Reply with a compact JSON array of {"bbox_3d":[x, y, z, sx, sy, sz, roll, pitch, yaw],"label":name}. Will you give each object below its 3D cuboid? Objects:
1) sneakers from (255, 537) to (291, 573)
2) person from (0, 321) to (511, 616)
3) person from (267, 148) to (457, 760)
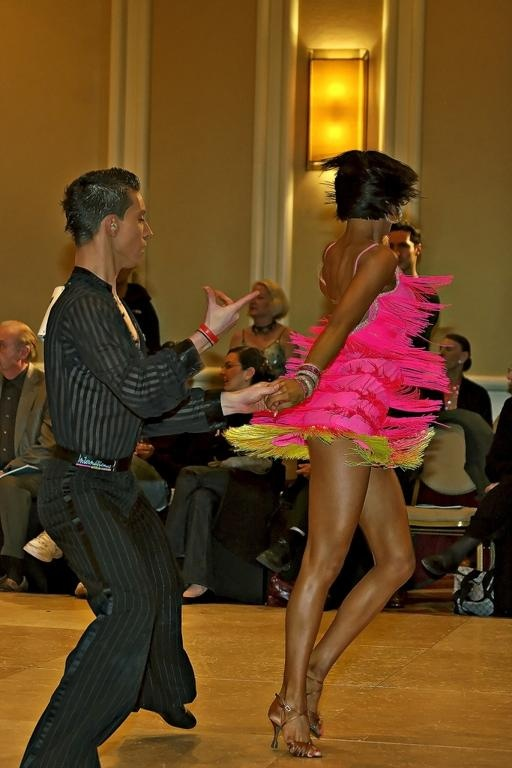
[{"bbox_3d":[0.109,0.925,3.827,0.096,0.209,0.287,42,7,-3],"label":"sneakers"},{"bbox_3d":[0.020,0.422,2.649,1.802,0.383,1.135,0,30,2],"label":"person"},{"bbox_3d":[0.261,0.111,1.619,0.448,1.470,0.531,1,-12,3],"label":"person"}]
